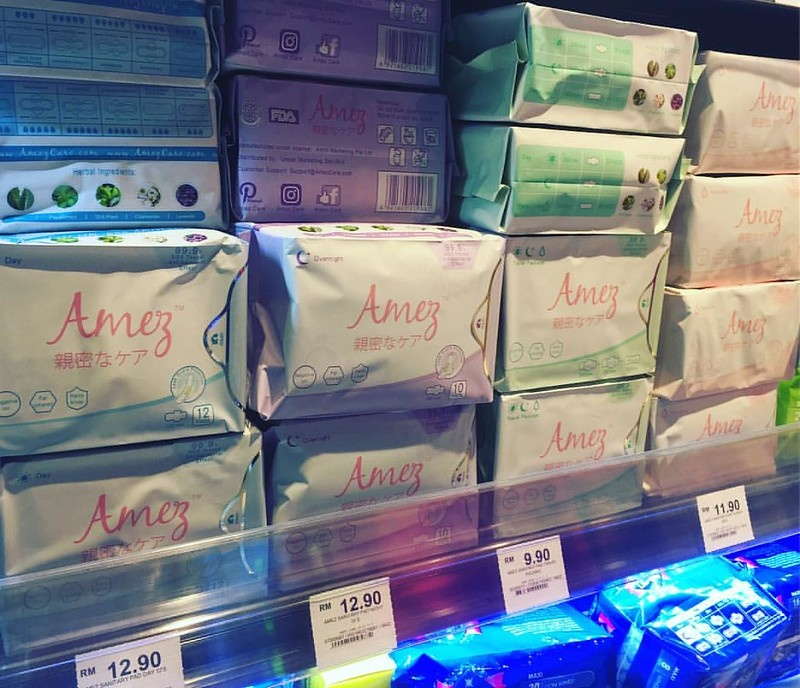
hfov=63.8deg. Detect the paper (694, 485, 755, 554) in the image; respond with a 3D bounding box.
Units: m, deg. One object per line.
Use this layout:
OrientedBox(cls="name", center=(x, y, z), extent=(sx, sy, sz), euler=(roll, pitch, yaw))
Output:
OrientedBox(cls="paper", center=(0.485, 0.265, 0.969), extent=(0.092, 0.097, 0.010), euler=(-9, -5, -19))
